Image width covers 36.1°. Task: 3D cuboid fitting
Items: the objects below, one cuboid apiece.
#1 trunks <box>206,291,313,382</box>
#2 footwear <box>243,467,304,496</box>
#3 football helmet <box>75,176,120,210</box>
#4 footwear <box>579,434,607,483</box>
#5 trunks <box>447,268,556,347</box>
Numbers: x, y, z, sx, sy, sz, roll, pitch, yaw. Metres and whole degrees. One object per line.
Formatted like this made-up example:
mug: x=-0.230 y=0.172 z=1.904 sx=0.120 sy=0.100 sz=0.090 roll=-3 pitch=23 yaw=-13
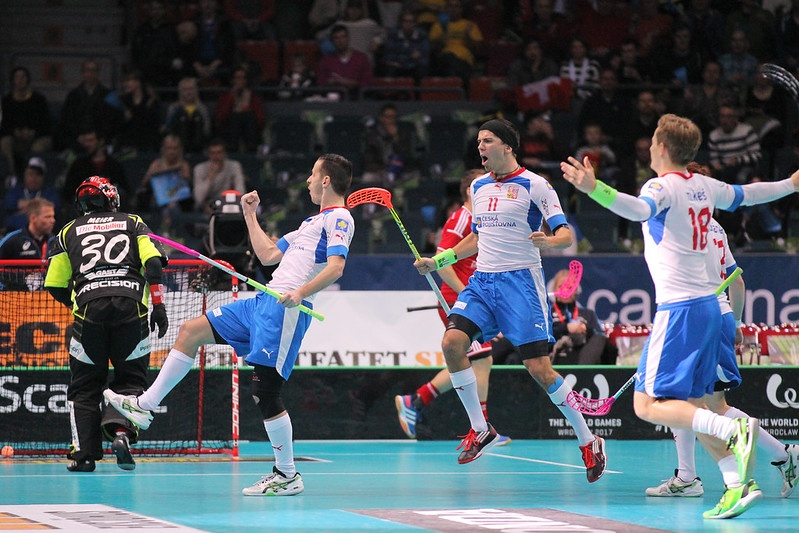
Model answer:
trunks: x=-1.339 y=0.637 z=12.110 sx=1.092 sy=0.610 sz=0.696 roll=18 pitch=1 yaw=-22
footwear: x=-1.216 y=2.148 z=12.104 sx=0.712 sy=0.296 sz=0.226 roll=2 pitch=-6 yaw=-7
football helmet: x=-3.215 y=-0.796 z=13.131 sx=0.367 sy=0.355 sz=0.401 roll=0 pitch=14 yaw=17
footwear: x=1.945 y=1.950 z=12.217 sx=0.255 sy=0.518 sz=0.187 roll=13 pitch=-30 yaw=-20
trunks: x=1.085 y=0.465 z=12.712 sx=1.341 sy=0.873 sz=0.755 roll=1 pitch=-14 yaw=22
